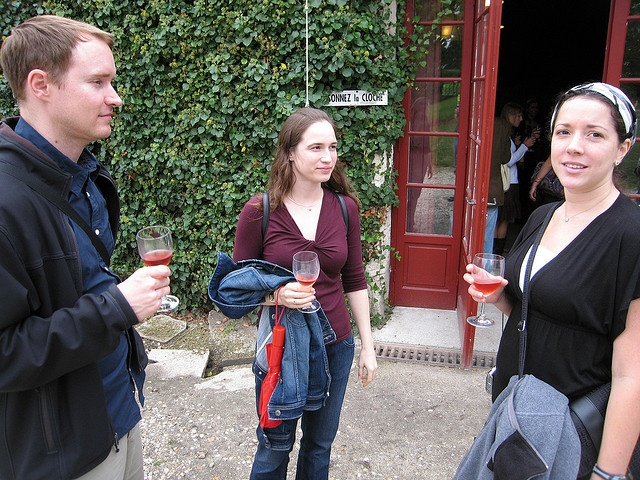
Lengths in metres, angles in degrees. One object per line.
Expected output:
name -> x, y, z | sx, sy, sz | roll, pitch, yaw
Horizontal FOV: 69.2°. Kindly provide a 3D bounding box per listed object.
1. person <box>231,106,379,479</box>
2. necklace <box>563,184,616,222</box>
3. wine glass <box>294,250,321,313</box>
person -> -0.054, 0.307, 2.472 | 0.765, 2.017, 0.587 | -2, 9, -20
necklace -> 1.181, -0.178, 2.055 | 0.151, 0.203, 0.216 | -4, 8, 9
wine glass -> -0.062, 0.212, 2.220 | 0.122, 0.331, 0.193 | 1, 8, 0
